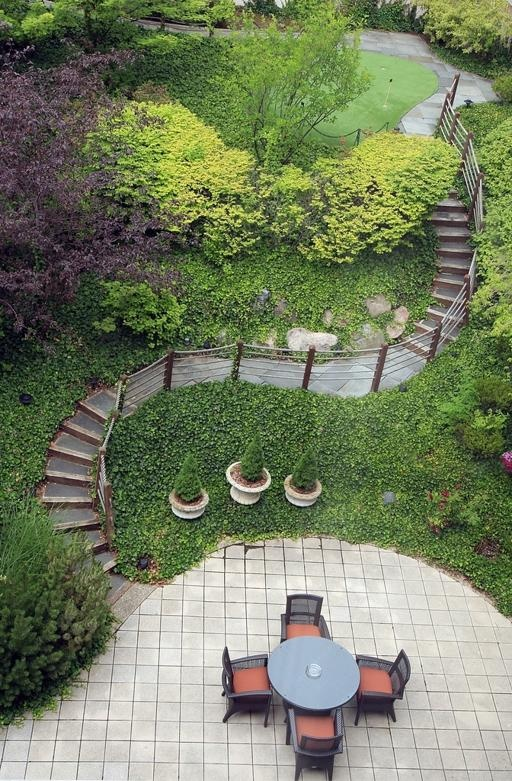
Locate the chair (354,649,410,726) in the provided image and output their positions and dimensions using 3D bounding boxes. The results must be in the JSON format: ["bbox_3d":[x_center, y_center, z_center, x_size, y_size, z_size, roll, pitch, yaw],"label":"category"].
[{"bbox_3d":[1.778,4.256,8.844,0.786,1.047,0.756,2,56,-6],"label":"chair"}]

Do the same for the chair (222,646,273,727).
[{"bbox_3d":[-0.109,4.029,8.526,0.717,1.248,0.603,3,40,-2],"label":"chair"}]

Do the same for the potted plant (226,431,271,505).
[{"bbox_3d":[-0.163,1.490,11.592,0.718,1.144,0.687,-12,51,-27],"label":"potted plant"}]

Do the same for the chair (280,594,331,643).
[{"bbox_3d":[0.697,3.415,9.495,0.763,1.064,0.724,0,71,-2],"label":"chair"}]

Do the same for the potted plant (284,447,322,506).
[{"bbox_3d":[0.858,1.650,11.700,0.815,1.145,0.804,5,51,-5],"label":"potted plant"}]

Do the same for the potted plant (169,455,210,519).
[{"bbox_3d":[-1.206,1.651,11.023,0.702,1.052,0.687,16,24,25],"label":"potted plant"}]
